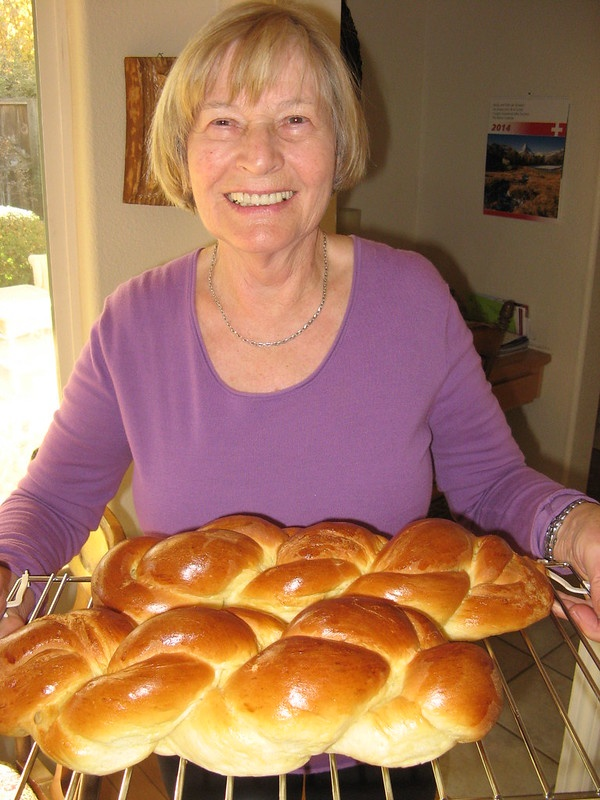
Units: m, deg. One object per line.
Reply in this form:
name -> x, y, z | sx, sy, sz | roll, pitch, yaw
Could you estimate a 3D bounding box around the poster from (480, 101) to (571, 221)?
poster -> 0.843, -0.902, 2.417 | 0.025, 0.495, 0.449 | -26, 32, -34
